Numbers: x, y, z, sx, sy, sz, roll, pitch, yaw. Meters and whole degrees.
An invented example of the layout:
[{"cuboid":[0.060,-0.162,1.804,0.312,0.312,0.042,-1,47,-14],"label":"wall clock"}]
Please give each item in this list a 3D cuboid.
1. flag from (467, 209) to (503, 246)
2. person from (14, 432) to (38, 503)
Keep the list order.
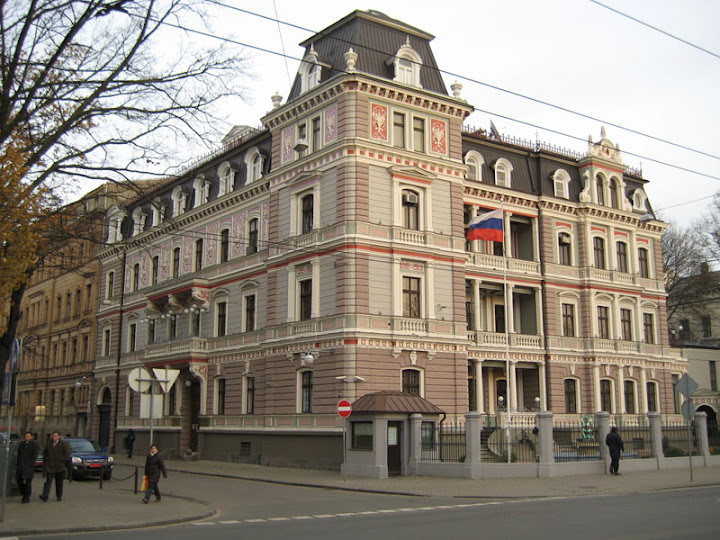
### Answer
[{"cuboid":[6.883,-2.444,44.731,2.727,2.542,0.326,5,-29,16],"label":"flag"},{"cuboid":[-11.291,6.772,27.464,0.644,2.380,1.411,6,-20,-21],"label":"person"}]
